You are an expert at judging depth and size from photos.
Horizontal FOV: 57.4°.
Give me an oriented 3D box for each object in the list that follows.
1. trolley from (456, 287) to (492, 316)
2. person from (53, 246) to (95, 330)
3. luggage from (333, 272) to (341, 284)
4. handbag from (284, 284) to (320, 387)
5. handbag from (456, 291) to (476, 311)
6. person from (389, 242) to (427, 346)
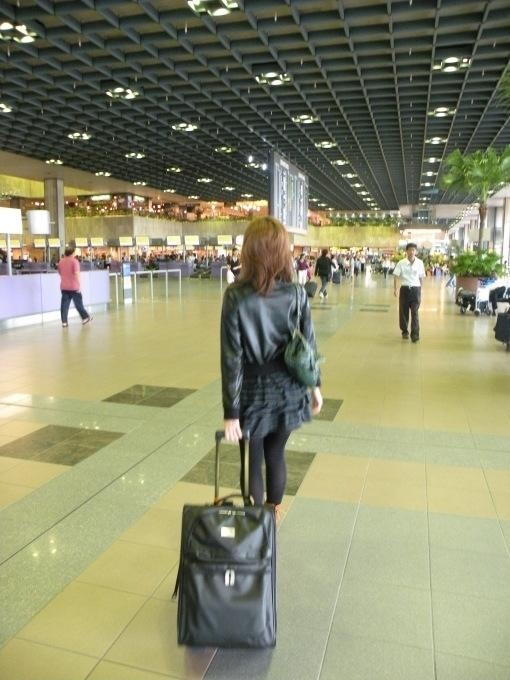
[{"bbox_3d":[5.209,-0.907,10.979,0.669,0.605,0.607,-2,6,-23],"label":"trolley"},{"bbox_3d":[-3.450,-1.006,8.911,0.530,1.497,1.018,-2,6,-23],"label":"person"},{"bbox_3d":[4.309,-3.248,24.642,0.520,0.631,1.028,3,14,6],"label":"luggage"},{"bbox_3d":[0.175,0.004,1.621,0.118,0.381,0.198,5,7,41],"label":"handbag"},{"bbox_3d":[5.011,-0.912,11.012,0.353,0.752,0.241,3,-1,9],"label":"handbag"},{"bbox_3d":[2.622,-0.847,7.982,0.438,1.650,1.668,2,6,19],"label":"person"}]
